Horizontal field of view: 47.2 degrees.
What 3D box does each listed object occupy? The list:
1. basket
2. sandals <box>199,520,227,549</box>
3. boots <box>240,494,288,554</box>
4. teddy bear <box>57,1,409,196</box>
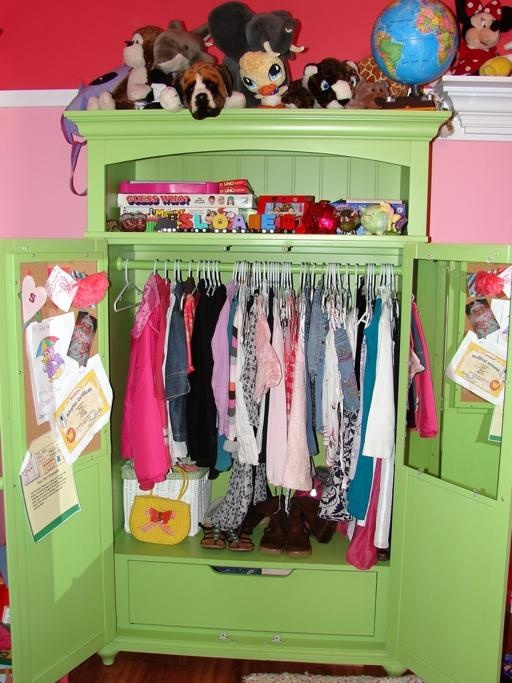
[{"bbox_3d":[-0.356,0.603,2.396,0.299,0.241,0.299,0,0,3],"label":"basket"},{"bbox_3d":[-0.163,0.756,2.278,0.072,0.091,0.212,0,-2,-4],"label":"sandals"},{"bbox_3d":[0.062,0.719,2.322,0.104,0.189,0.277,-10,4,9],"label":"boots"},{"bbox_3d":[-0.185,-0.836,2.116,0.639,0.337,0.880,-9,18,-32],"label":"teddy bear"}]
